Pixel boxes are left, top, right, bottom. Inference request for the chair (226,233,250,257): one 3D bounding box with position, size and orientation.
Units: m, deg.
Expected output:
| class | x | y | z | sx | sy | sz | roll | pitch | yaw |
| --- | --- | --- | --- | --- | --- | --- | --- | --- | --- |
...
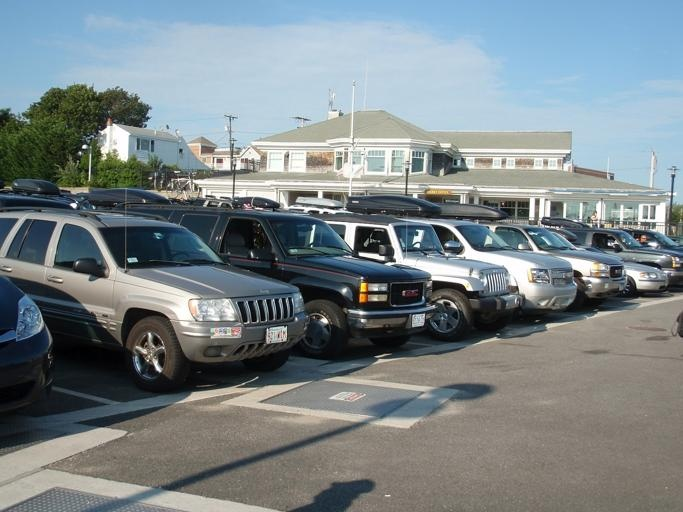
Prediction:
| class | x | y | z | sx | sy | sz | roll | pitch | yaw |
| --- | --- | --- | --- | --- | --- | --- | --- | --- | --- |
| chair | -1.776 | -0.182 | 10.051 | 0.439 | 0.464 | 0.469 | -3 | 11 | -24 |
